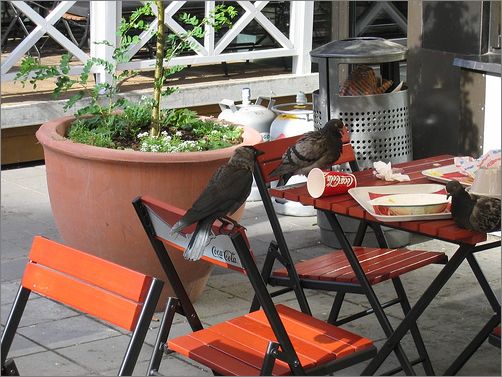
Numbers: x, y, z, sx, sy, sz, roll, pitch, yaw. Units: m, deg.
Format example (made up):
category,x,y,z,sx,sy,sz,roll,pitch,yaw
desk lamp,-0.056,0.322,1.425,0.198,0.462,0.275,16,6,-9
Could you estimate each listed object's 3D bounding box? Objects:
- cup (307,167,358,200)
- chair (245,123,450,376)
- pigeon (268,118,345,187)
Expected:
category,x,y,z,sx,sy,sz,roll,pitch,yaw
cup,0.368,-0.025,2.285,0.269,0.168,0.156,-4,55,-8
chair,0.513,0.282,2.649,0.948,1.367,0.886,-10,14,-39
pigeon,0.382,-0.232,2.936,0.647,0.444,0.255,-6,6,-14
